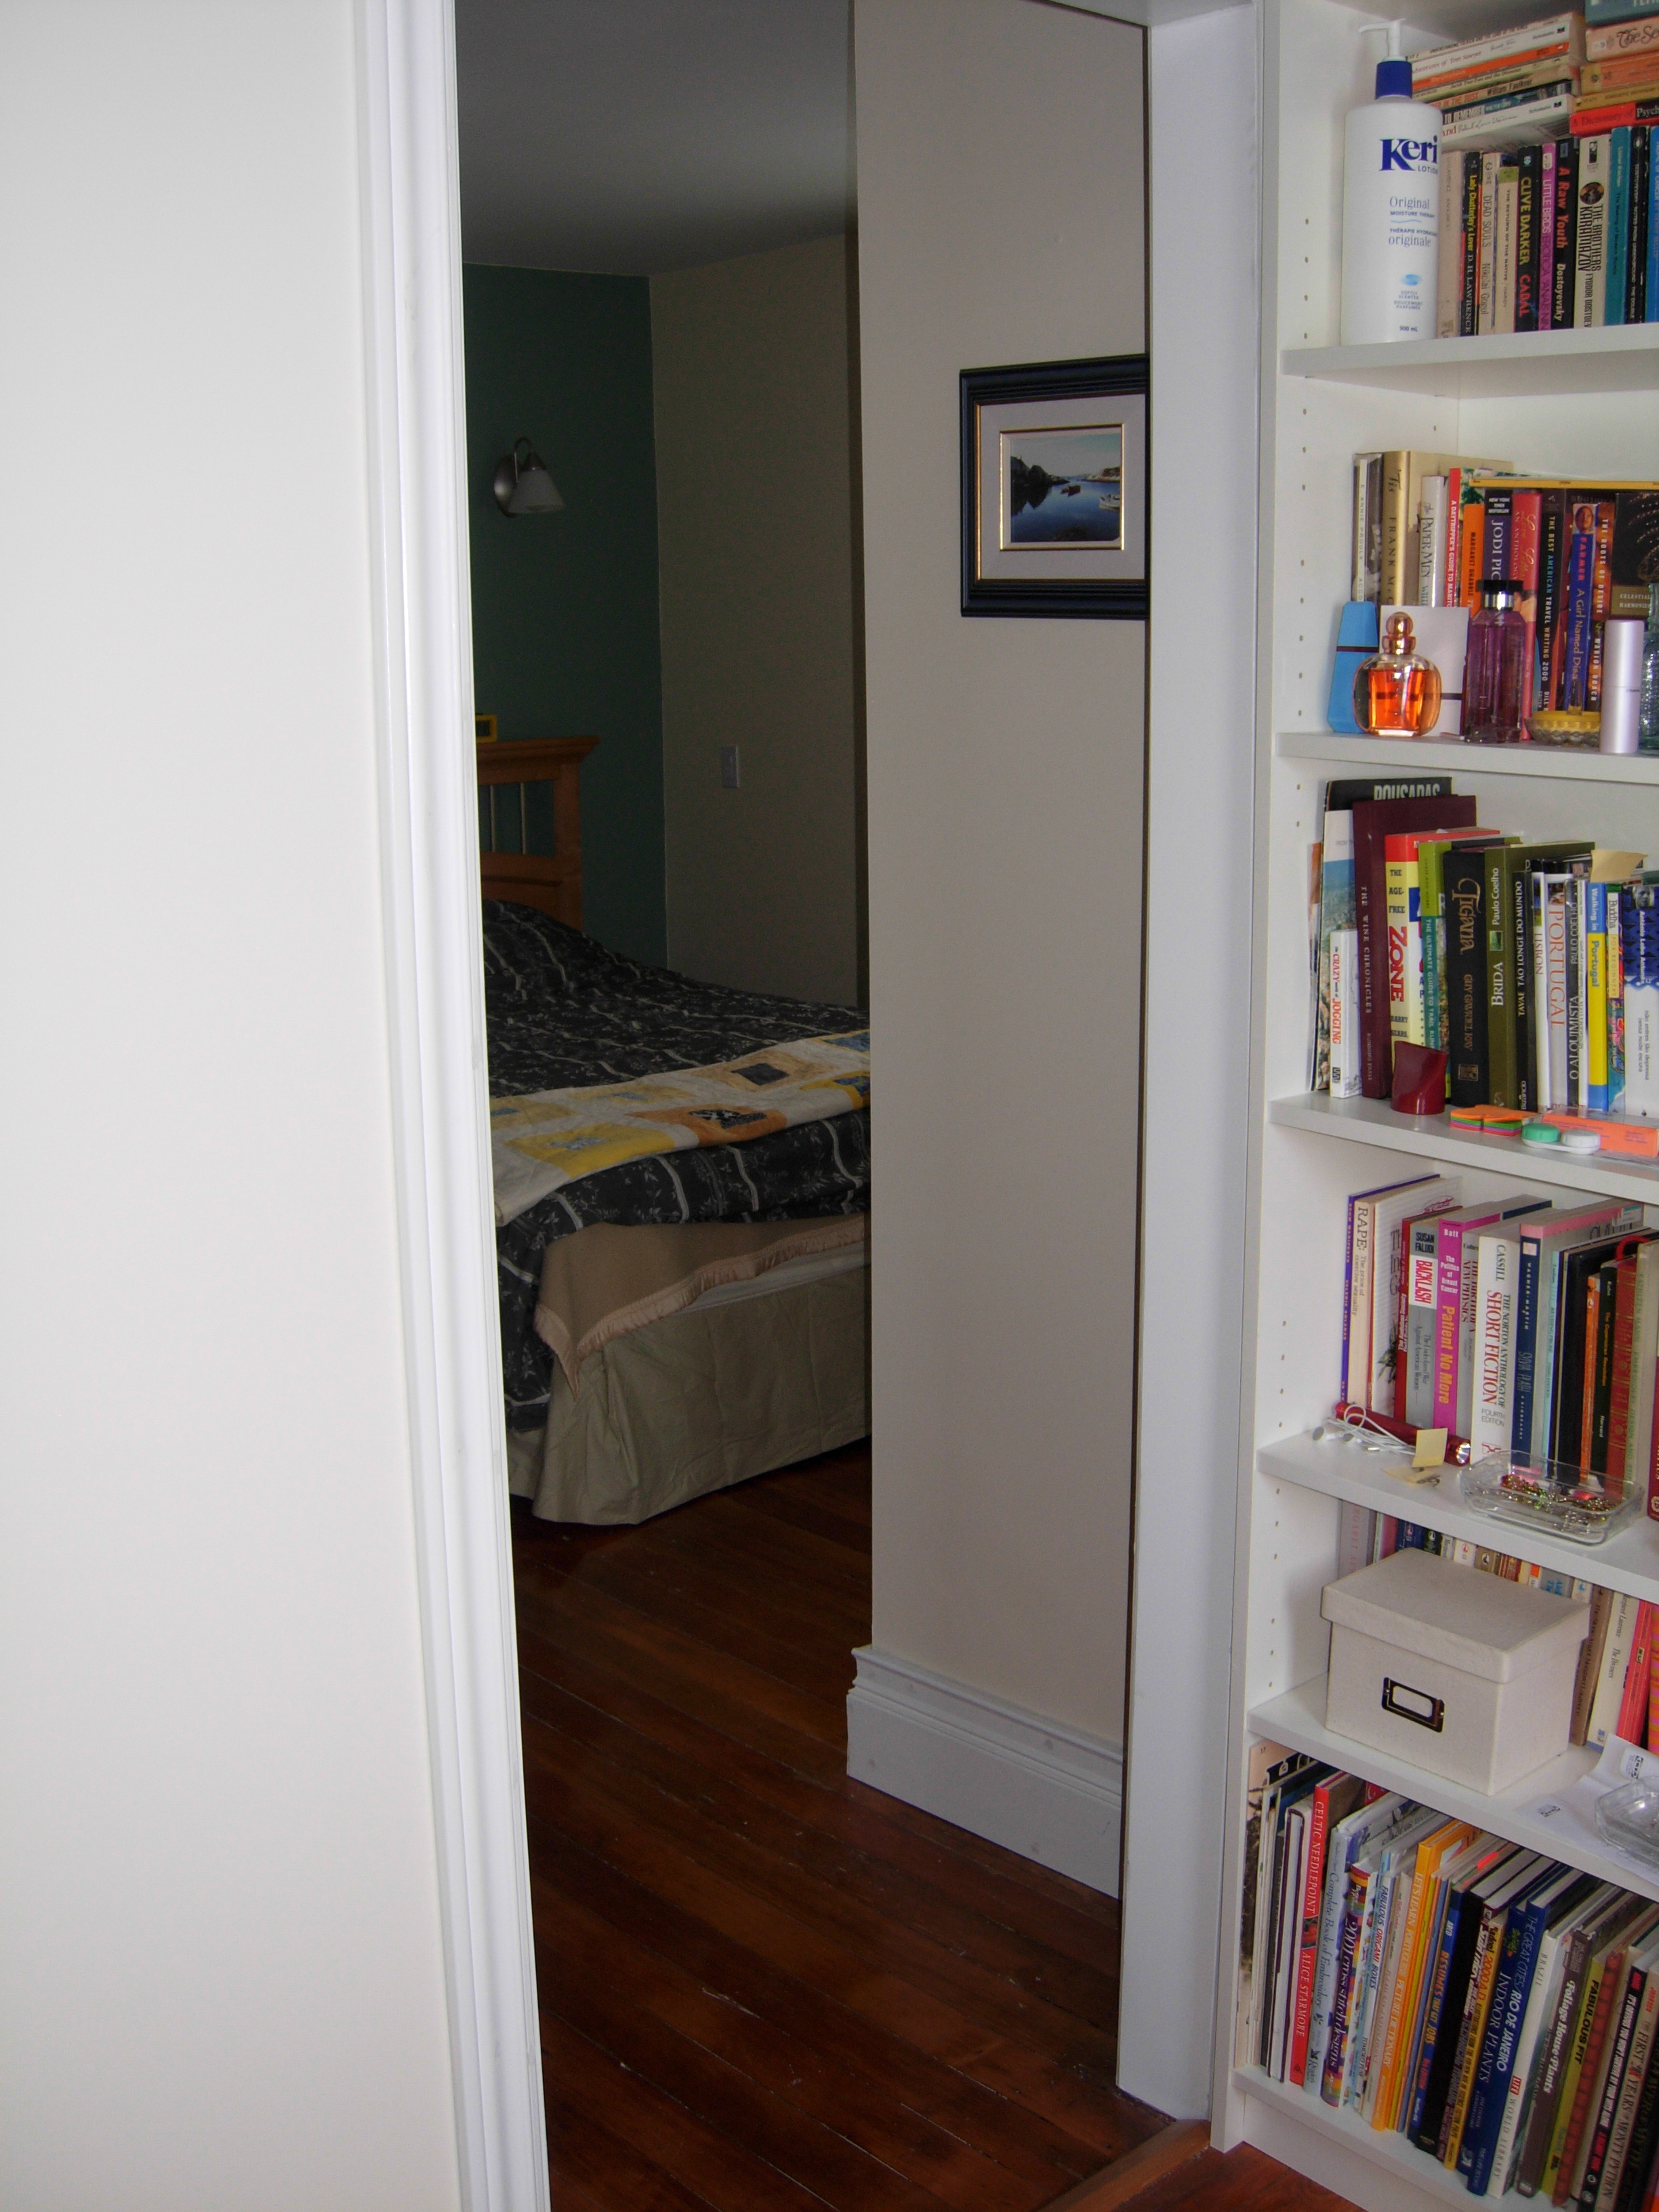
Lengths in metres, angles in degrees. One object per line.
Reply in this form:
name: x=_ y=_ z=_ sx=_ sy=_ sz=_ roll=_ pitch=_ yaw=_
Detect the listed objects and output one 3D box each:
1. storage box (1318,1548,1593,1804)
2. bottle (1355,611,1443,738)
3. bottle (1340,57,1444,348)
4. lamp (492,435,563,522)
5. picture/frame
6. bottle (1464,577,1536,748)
storage box: x=0.573 y=0.488 z=1.593 sx=0.161 sy=0.129 sz=0.164 roll=-12 pitch=17 yaw=-42
bottle: x=0.493 y=-0.372 z=1.504 sx=0.072 sy=0.109 sz=0.058 roll=-4 pitch=10 yaw=-26
bottle: x=0.465 y=-0.743 z=1.456 sx=0.078 sy=0.217 sz=0.083 roll=0 pitch=9 yaw=0
lamp: x=-0.798 y=-1.657 z=4.617 sx=0.184 sy=0.178 sz=0.185 roll=-2 pitch=9 yaw=-11
picture/frame: x=0.261 y=-0.712 z=1.984 sx=0.025 sy=0.353 sz=0.324 roll=-9 pitch=13 yaw=-42
bottle: x=0.555 y=-0.368 z=1.453 sx=0.048 sy=0.134 sz=0.113 roll=2 pitch=9 yaw=14
